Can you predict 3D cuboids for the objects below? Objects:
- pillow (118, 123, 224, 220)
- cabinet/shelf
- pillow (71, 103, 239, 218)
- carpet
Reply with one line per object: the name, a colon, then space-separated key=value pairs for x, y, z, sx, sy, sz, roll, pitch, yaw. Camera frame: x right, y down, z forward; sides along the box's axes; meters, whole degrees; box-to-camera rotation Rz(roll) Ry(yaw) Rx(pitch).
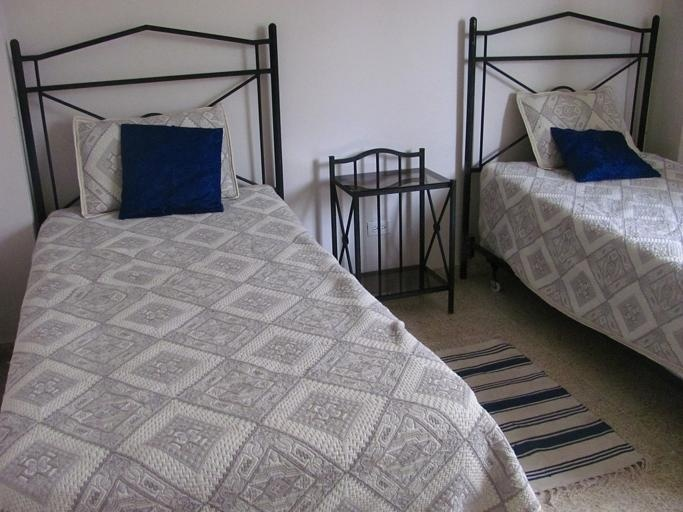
pillow: x=-0.807 y=-0.375 z=2.447 sx=0.429 sy=0.430 sz=0.098 roll=-1 pitch=-11 yaw=-11
cabinet/shelf: x=0.277 y=-0.123 z=2.988 sx=0.579 sy=0.883 sz=0.427 roll=-6 pitch=14 yaw=-12
pillow: x=-0.902 y=-0.459 z=2.577 sx=0.739 sy=0.491 sz=0.230 roll=-7 pitch=1 yaw=-9
carpet: x=0.784 y=0.615 z=2.162 sx=0.455 sy=0.028 sz=0.737 roll=-10 pitch=27 yaw=-12
